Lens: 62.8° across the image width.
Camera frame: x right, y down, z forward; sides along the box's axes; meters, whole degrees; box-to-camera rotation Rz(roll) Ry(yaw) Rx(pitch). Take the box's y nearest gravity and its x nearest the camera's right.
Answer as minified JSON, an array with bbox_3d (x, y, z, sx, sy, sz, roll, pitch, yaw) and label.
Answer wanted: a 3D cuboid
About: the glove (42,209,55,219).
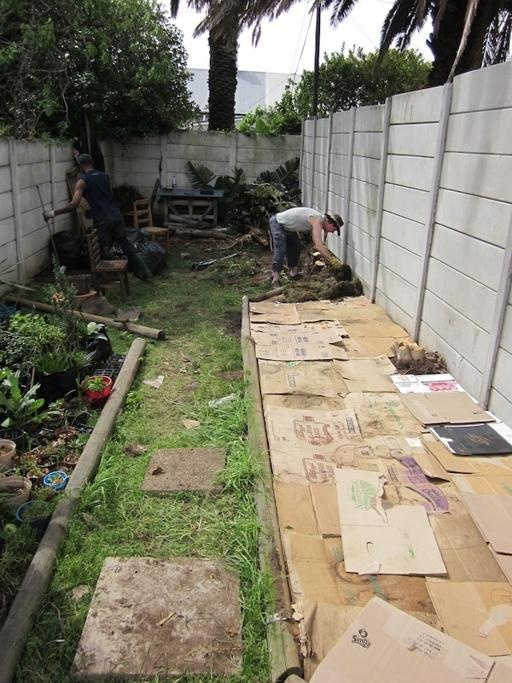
[{"bbox_3d":[-3.590,-2.170,7.273,0.157,0.163,1.179,-9,21,-25],"label":"glove"}]

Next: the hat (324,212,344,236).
[{"bbox_3d":[1.344,-1.997,7.274,0.339,0.367,0.654,4,19,10],"label":"hat"}]

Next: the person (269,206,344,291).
[{"bbox_3d":[0.761,-1.693,7.551,0.862,1.331,1.355,-6,20,-18],"label":"person"}]

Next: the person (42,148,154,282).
[{"bbox_3d":[-2.918,-2.285,7.893,1.546,2.224,1.067,-3,26,2],"label":"person"}]

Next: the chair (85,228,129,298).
[{"bbox_3d":[-2.500,-1.318,7.094,0.605,1.090,1.306,-6,20,-18],"label":"chair"}]

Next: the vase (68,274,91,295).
[{"bbox_3d":[-2.836,-0.911,6.789,0.329,0.262,0.639,-7,21,-23],"label":"vase"}]
